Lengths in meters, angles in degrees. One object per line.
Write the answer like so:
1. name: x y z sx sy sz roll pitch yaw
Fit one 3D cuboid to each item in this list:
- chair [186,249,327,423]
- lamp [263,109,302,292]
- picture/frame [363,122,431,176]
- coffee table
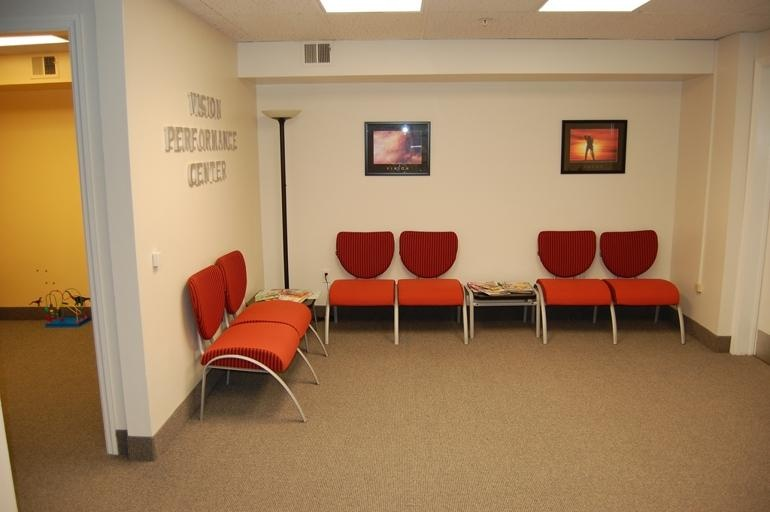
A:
1. chair: -1.407 0.791 5.500 1.163 1.483 1.470 0 9 -10
2. lamp: -1.353 -0.799 7.090 0.507 2.246 0.469 -9 23 -28
3. picture/frame: 0.171 -1.482 7.103 0.719 0.529 0.051 0 4 0
4. coffee table: 1.485 0.687 6.958 0.915 0.603 0.701 -2 4 -2
